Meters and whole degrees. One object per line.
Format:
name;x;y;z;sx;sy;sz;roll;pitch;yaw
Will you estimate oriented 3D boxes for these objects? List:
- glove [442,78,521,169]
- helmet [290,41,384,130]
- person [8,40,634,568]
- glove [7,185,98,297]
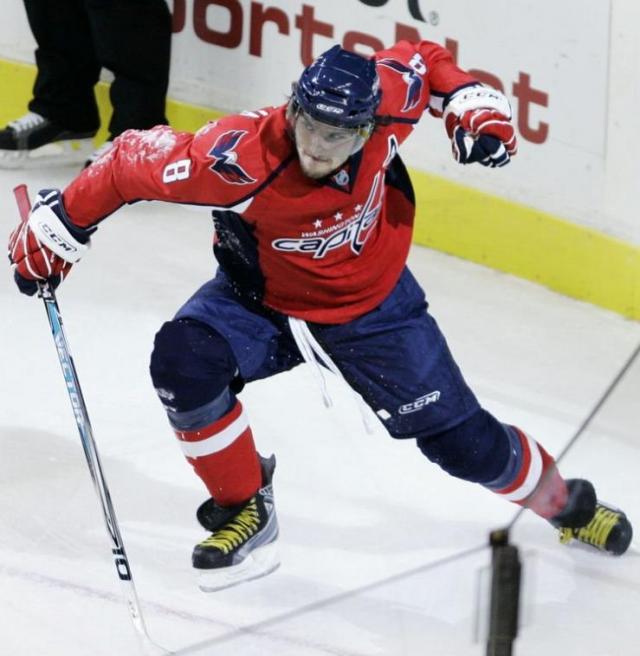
glove;0.343;-0.428;2.043;0.179;0.093;0.194;5;48;-27
helmet;0.039;-0.460;1.805;0.157;0.096;0.193;17;35;-1
person;-0.010;-0.034;2.100;1.348;1.165;0.580;-4;29;-2
glove;-0.601;-0.180;2.076;0.209;0.259;0.102;15;35;30
